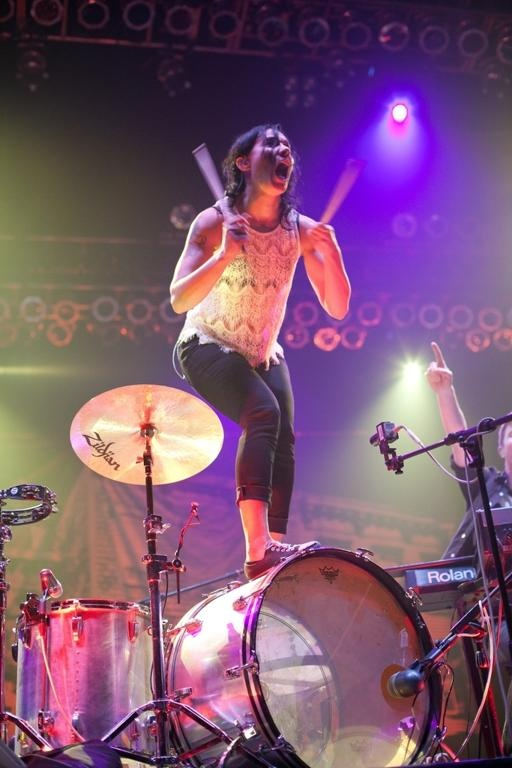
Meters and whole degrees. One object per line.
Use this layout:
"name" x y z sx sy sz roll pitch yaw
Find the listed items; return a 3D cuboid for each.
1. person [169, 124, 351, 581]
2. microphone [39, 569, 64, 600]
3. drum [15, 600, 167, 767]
"person" -0.002 -0.199 2.715 0.612 1.710 0.694 -1 -13 12
"microphone" -0.770 0.741 2.813 0.067 0.110 0.182 5 -12 -16
"drum" -0.565 1.069 2.758 0.570 0.501 0.529 1 -34 -7
